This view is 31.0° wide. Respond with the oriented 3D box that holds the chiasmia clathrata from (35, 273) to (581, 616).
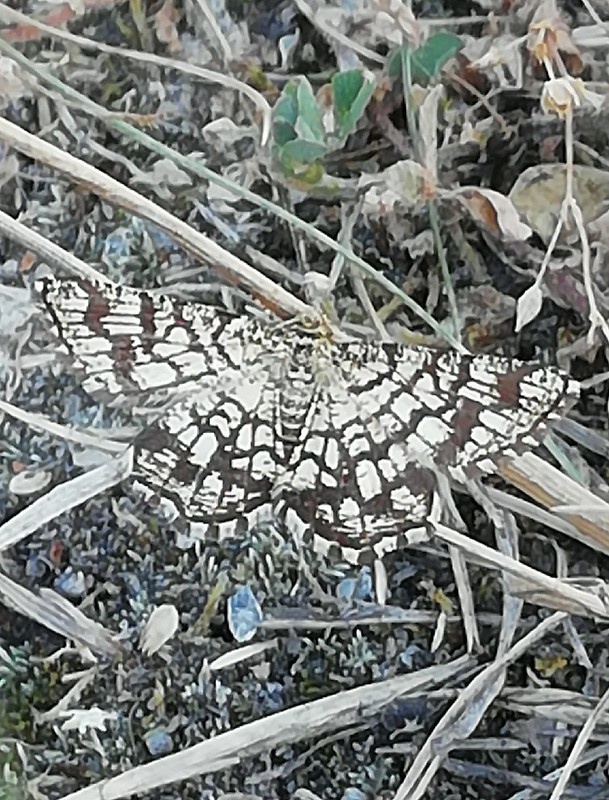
[{"bbox_3d":[-0.008,0.019,0.688,0.332,0.121,0.084,10,40,0],"label":"chiasmia clathrata"}]
